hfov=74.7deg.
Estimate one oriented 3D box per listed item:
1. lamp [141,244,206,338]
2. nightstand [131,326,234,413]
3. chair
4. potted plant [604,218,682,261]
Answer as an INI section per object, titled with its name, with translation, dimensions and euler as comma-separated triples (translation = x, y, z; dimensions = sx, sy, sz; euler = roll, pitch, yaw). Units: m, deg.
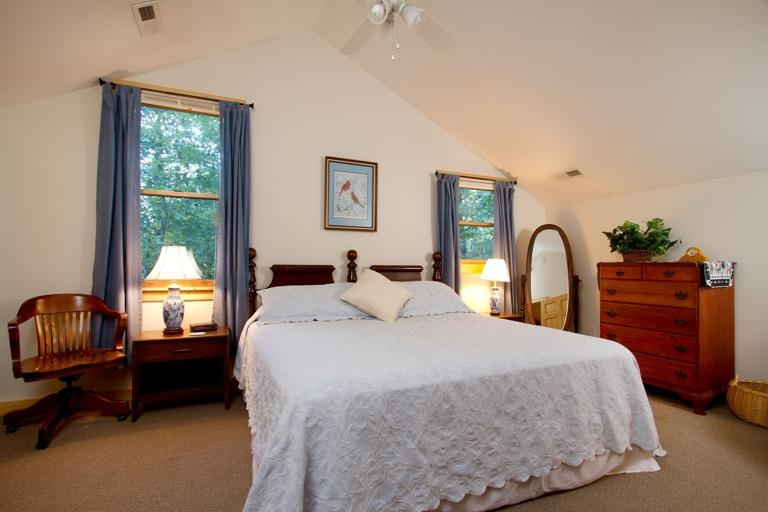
[lamp]
translation = -2.155, 0.334, 5.157
dimensions = 0.502, 0.880, 0.492
euler = -1, 4, -29
[nightstand]
translation = -2.090, 0.963, 5.200
dimensions = 0.978, 0.876, 0.762
euler = 0, -1, -24
[chair]
translation = -3.069, 1.040, 5.067
dimensions = 1.198, 1.532, 1.241
euler = 0, -3, -36
[potted plant]
translation = 2.891, -0.190, 5.740
dimensions = 0.527, 0.315, 0.540
euler = -7, 11, 11
